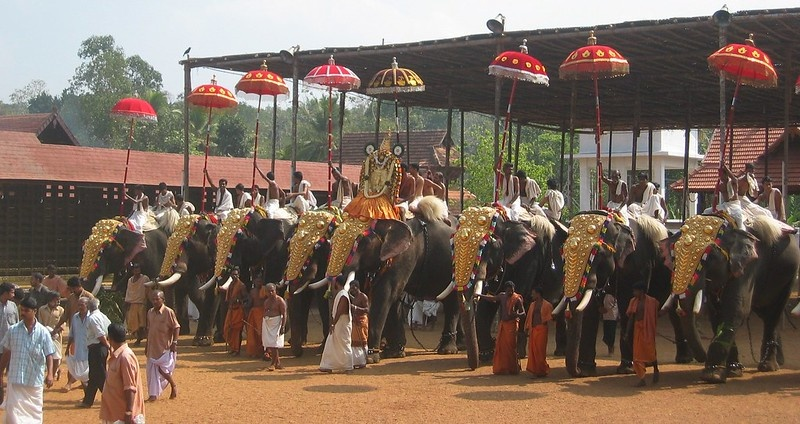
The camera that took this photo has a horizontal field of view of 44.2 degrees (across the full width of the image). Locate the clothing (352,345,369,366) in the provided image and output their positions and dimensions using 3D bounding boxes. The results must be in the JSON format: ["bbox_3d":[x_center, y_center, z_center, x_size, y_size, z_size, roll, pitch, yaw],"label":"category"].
[{"bbox_3d":[-0.955,3.437,23.318,0.385,0.422,0.471,0,-7,1],"label":"clothing"}]

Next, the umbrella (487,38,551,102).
[{"bbox_3d":[3.034,-3.880,24.841,1.387,0.789,1.398,24,23,28],"label":"umbrella"}]

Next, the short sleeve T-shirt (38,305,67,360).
[{"bbox_3d":[-8.033,2.904,22.667,0.617,1.529,0.501,1,-12,-23],"label":"short sleeve T-shirt"}]

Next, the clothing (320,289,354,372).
[{"bbox_3d":[-1.585,2.712,23.340,0.946,2.093,0.826,3,-16,-18],"label":"clothing"}]

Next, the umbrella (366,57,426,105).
[{"bbox_3d":[-0.191,-3.496,26.171,1.208,1.078,1.175,0,-1,-23],"label":"umbrella"}]

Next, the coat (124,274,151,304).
[{"bbox_3d":[-6.844,2.016,25.836,0.857,0.723,0.435,-1,-12,13],"label":"coat"}]

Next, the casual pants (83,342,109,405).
[{"bbox_3d":[-6.584,3.424,21.662,0.520,0.998,0.443,-4,-9,34],"label":"casual pants"}]

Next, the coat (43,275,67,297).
[{"bbox_3d":[-8.517,1.840,24.358,0.745,0.623,0.317,1,-2,-17],"label":"coat"}]

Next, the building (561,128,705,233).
[{"bbox_3d":[9.220,-2.105,40.155,5.671,3.424,4.361,-2,-5,34],"label":"building"}]

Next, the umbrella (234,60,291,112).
[{"bbox_3d":[-3.723,-3.664,26.854,1.337,0.680,1.279,8,7,-5],"label":"umbrella"}]

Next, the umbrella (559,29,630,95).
[{"bbox_3d":[4.762,-3.967,24.484,1.659,0.937,1.592,-8,9,-28],"label":"umbrella"}]

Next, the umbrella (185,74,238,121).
[{"bbox_3d":[-5.219,-3.365,27.456,1.068,0.561,1.027,-2,12,-33],"label":"umbrella"}]

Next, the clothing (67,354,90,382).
[{"bbox_3d":[-7.138,3.454,21.981,0.490,0.560,0.307,-1,10,2],"label":"clothing"}]

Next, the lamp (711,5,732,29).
[{"bbox_3d":[8.211,-4.967,25.274,0.438,0.482,0.534,-1,-1,25],"label":"lamp"}]

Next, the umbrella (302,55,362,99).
[{"bbox_3d":[-1.799,-3.701,25.894,1.648,0.890,1.544,-2,3,-28],"label":"umbrella"}]

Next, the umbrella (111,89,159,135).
[{"bbox_3d":[-7.426,-2.758,27.562,1.128,0.854,1.043,10,10,-5],"label":"umbrella"}]

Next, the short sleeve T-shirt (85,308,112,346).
[{"bbox_3d":[-6.698,2.571,21.885,0.555,0.813,0.952,-4,-11,-20],"label":"short sleeve T-shirt"}]

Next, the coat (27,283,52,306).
[{"bbox_3d":[-8.360,1.923,22.909,0.610,0.571,0.320,-1,-2,8],"label":"coat"}]
